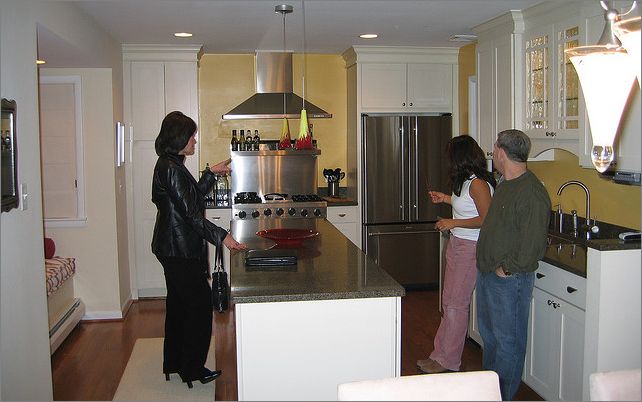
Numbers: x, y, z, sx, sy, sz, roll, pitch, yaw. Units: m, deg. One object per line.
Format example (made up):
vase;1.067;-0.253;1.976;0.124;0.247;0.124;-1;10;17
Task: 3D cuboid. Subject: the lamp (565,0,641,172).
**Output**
lamp;1.131;-0.468;1.922;0.242;0.674;0.220;11;17;42

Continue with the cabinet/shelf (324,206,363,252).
cabinet/shelf;0.335;0.308;6.189;0.457;0.794;0.542;-1;2;-5

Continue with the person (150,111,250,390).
person;-1.062;0.443;4.173;0.923;2.330;0.845;-2;3;-35

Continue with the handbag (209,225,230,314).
handbag;-0.786;0.579;3.726;0.148;0.645;0.863;-4;13;-12

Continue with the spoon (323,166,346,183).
spoon;0.183;-0.359;6.521;0.220;0.094;0.231;3;-11;-11

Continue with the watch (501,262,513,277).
watch;1.397;0.517;3.581;0.049;0.093;0.076;-15;29;-23

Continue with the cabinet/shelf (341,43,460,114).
cabinet/shelf;1.112;-1.570;6.099;1.563;0.943;0.844;0;3;-5

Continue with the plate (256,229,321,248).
plate;-0.278;0.310;4.072;0.513;0.105;0.400;-1;13;-3

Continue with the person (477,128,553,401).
person;1.462;0.490;3.677;0.352;2.045;0.474;-6;14;-20
